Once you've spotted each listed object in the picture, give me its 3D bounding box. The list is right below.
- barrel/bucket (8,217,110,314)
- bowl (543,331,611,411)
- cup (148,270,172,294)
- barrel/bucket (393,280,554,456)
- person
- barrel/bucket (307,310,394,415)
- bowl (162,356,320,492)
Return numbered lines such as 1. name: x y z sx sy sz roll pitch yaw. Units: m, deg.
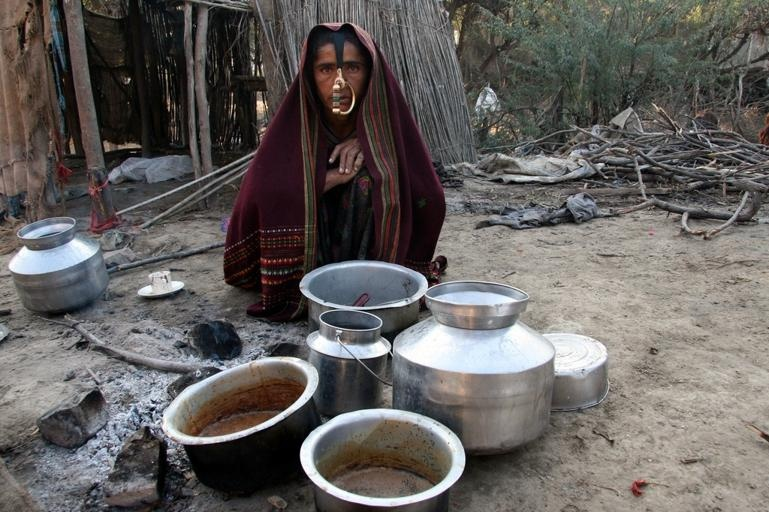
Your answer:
1. barrel/bucket: -2.134 0.065 4.154 0.599 0.629 0.627 -3 21 1
2. bowl: 1.061 0.652 3.377 0.391 0.174 0.398 -5 15 1
3. cup: -1.580 0.180 4.272 0.153 0.160 0.140 -1 15 0
4. barrel/bucket: 0.496 0.541 3.342 0.905 0.777 0.921 0 17 0
5. person: -0.342 -0.583 4.012 1.478 1.872 0.640 -7 21 -16
6. barrel/bucket: -0.182 0.597 3.320 0.444 0.480 0.409 3 11 -1
7. bowl: -0.663 0.934 3.062 0.688 0.269 0.671 -5 28 3
